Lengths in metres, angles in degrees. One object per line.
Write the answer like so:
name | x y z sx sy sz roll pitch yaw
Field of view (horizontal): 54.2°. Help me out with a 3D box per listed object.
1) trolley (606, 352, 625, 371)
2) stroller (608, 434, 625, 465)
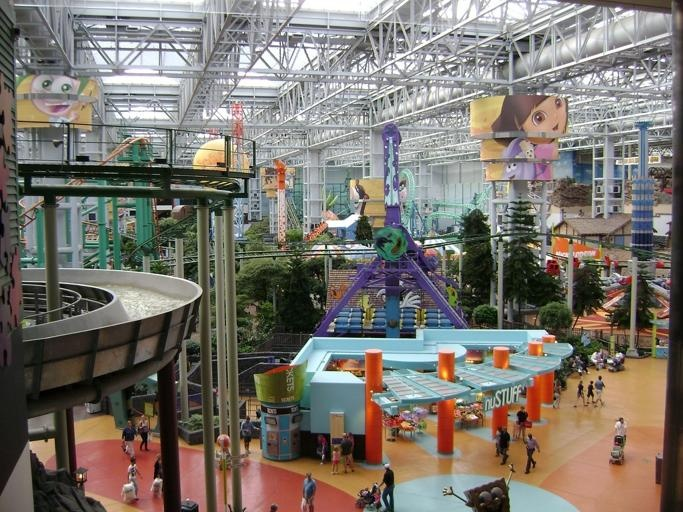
trolley | 14.539 5.632 35.478 0.559 0.733 1.860 -2 -4 13
stroller | 10.016 6.943 24.340 0.402 0.682 1.327 1 7 17
